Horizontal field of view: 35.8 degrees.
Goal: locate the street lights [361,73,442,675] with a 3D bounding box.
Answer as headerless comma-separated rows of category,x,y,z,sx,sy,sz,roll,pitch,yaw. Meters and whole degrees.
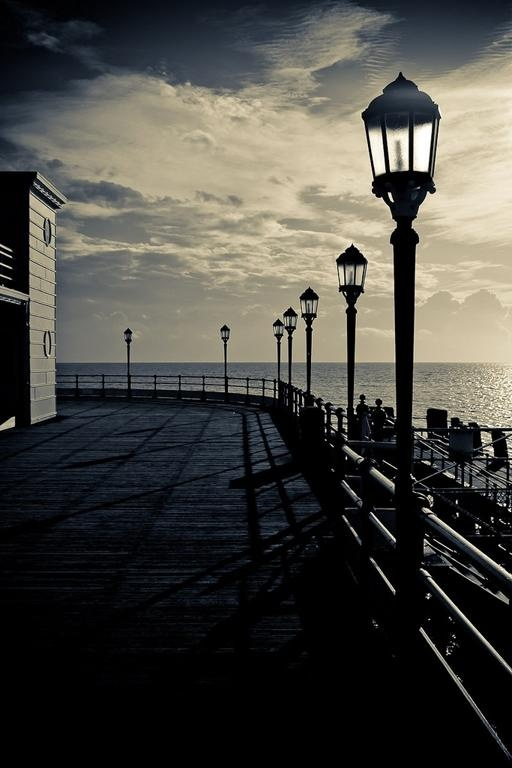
street lights,0.959,-0.208,4.522,0.442,3.286,0.818,0,3,-1
